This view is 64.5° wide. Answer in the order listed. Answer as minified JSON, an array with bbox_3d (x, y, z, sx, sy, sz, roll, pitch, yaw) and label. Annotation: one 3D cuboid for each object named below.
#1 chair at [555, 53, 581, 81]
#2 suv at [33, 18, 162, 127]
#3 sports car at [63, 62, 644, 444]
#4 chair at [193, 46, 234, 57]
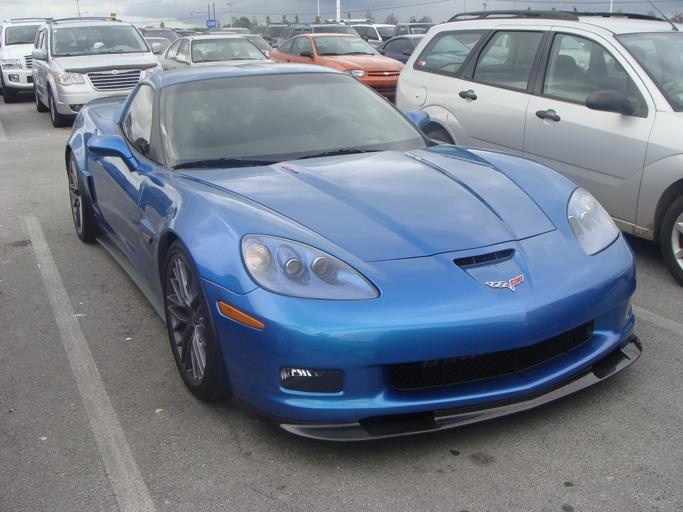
[{"bbox_3d":[2.191,-1.811,5.224,0.234,0.247,0.274,7,30,12],"label":"chair"},{"bbox_3d":[-6.190,-4.751,13.490,2.752,2.080,4.790,-14,29,-25],"label":"suv"},{"bbox_3d":[-0.417,-0.558,4.103,2.638,1.203,4.544,-12,27,-30],"label":"sports car"},{"bbox_3d":[-3.644,-5.614,14.976,0.577,0.216,0.849,-7,21,-19],"label":"chair"}]
